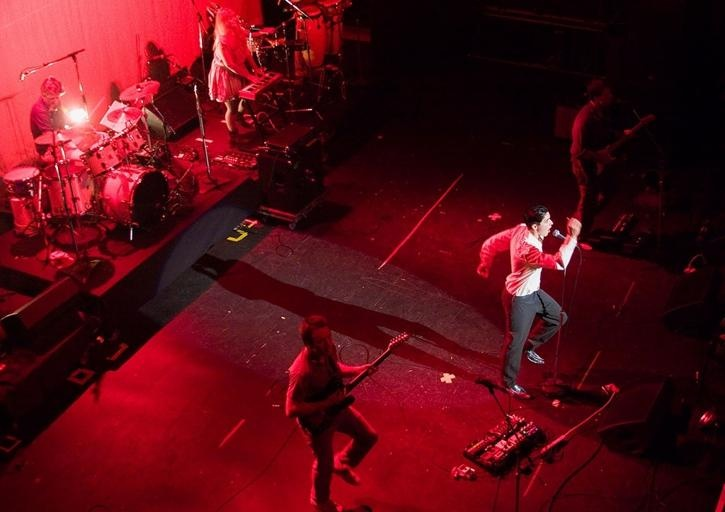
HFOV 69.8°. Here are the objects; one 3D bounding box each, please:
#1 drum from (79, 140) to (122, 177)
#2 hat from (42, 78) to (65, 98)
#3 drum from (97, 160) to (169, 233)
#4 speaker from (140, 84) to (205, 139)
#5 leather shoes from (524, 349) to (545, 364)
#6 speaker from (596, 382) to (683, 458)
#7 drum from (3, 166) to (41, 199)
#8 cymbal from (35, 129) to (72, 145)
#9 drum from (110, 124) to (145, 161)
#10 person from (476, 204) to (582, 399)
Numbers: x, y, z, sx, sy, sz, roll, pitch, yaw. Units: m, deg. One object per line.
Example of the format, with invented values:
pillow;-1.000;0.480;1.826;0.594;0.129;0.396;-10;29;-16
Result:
drum;-3.066;-1.170;6.166;0.375;0.365;0.283;39;-28;60
hat;-4.007;-2.183;6.736;0.224;0.280;0.275;9;-65;24
drum;-2.677;-0.815;6.511;0.709;0.982;0.970;17;22;34
speaker;-3.165;-2.437;8.670;0.997;0.908;0.238;58;-36;9
leather shoes;1.786;1.054;5.439;0.190;0.082;0.082;27;-27;20
speaker;2.577;1.612;4.848;0.694;0.761;0.515;-5;-53;38
drum;-4.042;-0.907;6.221;0.400;0.404;0.253;37;-46;49
cymbal;-3.563;-1.326;5.993;0.275;0.278;0.064;2;-47;-4
drum;-2.909;-1.406;6.484;0.313;0.391;0.262;-7;-65;33
person;1.728;0.559;5.375;0.899;0.954;1.859;-10;-47;9
